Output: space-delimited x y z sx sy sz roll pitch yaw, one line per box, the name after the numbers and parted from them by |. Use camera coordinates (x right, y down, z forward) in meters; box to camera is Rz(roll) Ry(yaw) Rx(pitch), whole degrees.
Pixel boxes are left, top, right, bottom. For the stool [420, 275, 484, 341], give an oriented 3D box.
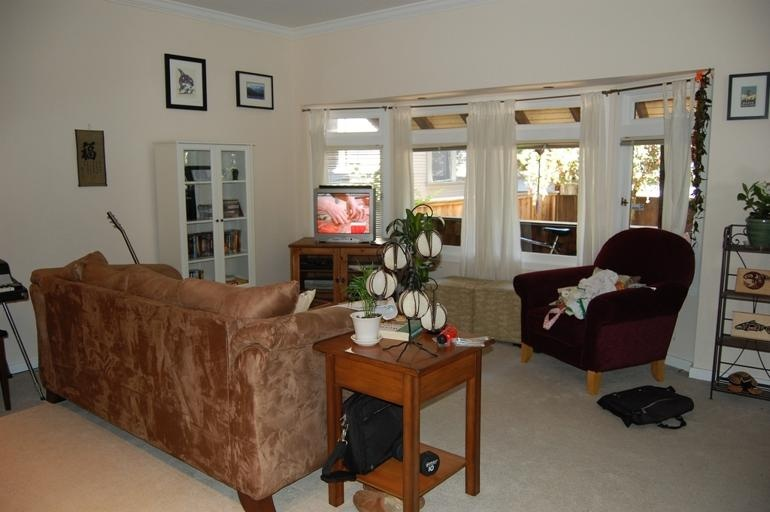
0.734 0.548 5.809 0.692 0.655 0.665 0 9 6 | stool

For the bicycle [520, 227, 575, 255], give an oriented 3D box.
1.961 -0.196 6.417 0.732 0.364 0.244 -4 -2 44 | bicycle

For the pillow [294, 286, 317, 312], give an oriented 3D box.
-0.597 0.317 3.886 0.159 0.161 0.049 7 -8 41 | pillow

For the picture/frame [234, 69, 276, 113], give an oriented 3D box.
-1.669 -2.085 6.569 0.046 0.514 0.618 3 5 43 | picture/frame

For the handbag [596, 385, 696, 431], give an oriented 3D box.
2.246 1.275 4.413 0.720 0.223 0.411 3 12 -11 | handbag

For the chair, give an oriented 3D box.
2.224 0.473 5.266 1.387 1.455 1.318 -4 9 -29 | chair

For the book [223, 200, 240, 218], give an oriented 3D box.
-1.782 -0.549 6.164 0.174 0.240 0.247 -1 5 1 | book

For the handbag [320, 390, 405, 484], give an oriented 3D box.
-0.127 1.154 3.332 0.667 0.510 0.304 -2 1 -43 | handbag

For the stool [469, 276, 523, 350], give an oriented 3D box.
1.272 0.602 6.073 0.724 0.606 0.731 -5 9 -3 | stool

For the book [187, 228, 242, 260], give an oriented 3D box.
-1.971 -0.144 5.995 0.758 0.293 0.339 -1 3 -40 | book
